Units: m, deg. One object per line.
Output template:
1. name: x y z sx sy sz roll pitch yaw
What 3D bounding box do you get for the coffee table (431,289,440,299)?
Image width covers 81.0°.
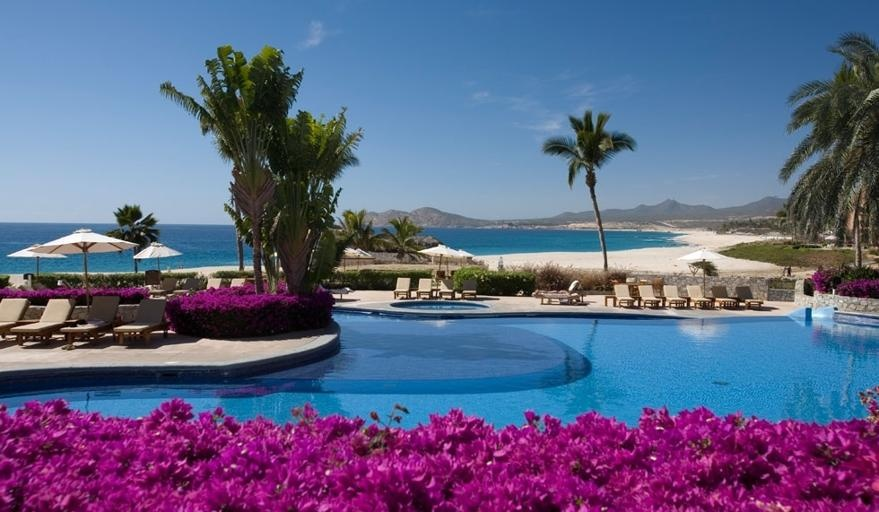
1. coffee table: -0.128 1.992 26.898 0.626 0.529 0.398 -1 -4 0

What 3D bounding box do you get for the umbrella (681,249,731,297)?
1. umbrella: 16.504 1.107 31.906 3.087 2.497 2.865 0 15 10

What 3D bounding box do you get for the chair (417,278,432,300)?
1. chair: -0.729 1.721 26.731 0.904 1.092 0.926 0 3 2

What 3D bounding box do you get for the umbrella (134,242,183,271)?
1. umbrella: -23.834 0.292 43.872 3.994 3.028 3.854 -6 7 -40

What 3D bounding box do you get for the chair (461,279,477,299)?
1. chair: 1.311 1.753 26.841 0.893 1.108 0.933 1 -3 8

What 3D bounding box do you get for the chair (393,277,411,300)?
1. chair: -1.861 1.707 26.882 0.902 0.951 1.119 0 1 8

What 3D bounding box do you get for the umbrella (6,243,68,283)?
1. umbrella: -34.078 0.754 43.843 4.950 3.117 4.452 0 -3 -15

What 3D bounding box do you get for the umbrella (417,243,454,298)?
1. umbrella: 0.492 0.866 30.848 3.128 2.995 2.948 1 2 -11

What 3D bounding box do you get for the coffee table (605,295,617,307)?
1. coffee table: 8.414 2.228 25.474 0.661 0.449 0.641 0 -3 3

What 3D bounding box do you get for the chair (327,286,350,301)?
1. chair: -4.990 1.905 26.235 0.776 0.595 2.308 0 6 -7
